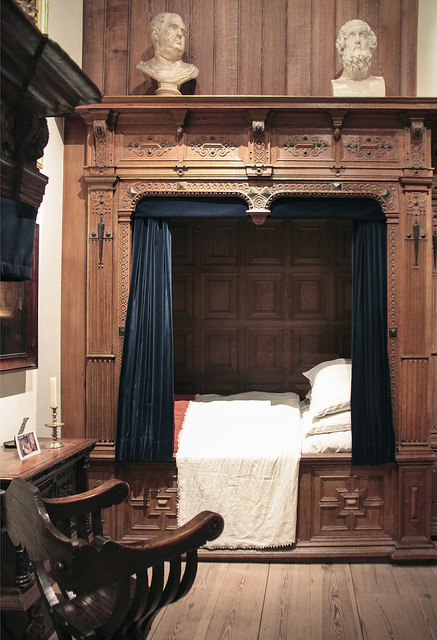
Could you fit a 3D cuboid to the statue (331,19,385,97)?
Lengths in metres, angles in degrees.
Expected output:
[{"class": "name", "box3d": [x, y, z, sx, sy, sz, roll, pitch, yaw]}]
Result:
[{"class": "statue", "box3d": [0.815, -1.475, 3.949, 0.285, 0.475, 0.225, 0, 4, 7]}]

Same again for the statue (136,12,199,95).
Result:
[{"class": "statue", "box3d": [-0.285, -1.558, 4.043, 0.406, 0.545, 0.262, 3, -3, -20]}]

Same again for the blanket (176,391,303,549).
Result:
[{"class": "blanket", "box3d": [0.131, 0.830, 3.881, 0.643, 1.023, 0.335, 0, -37, 3]}]

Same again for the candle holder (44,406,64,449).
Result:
[{"class": "candle holder", "box3d": [-0.833, 0.517, 3.423, 0.095, 0.229, 0.247, -3, 10, -14]}]

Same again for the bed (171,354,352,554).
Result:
[{"class": "bed", "box3d": [0.255, 0.760, 4.109, 0.993, 0.681, 1.091, 2, 5, 4]}]
